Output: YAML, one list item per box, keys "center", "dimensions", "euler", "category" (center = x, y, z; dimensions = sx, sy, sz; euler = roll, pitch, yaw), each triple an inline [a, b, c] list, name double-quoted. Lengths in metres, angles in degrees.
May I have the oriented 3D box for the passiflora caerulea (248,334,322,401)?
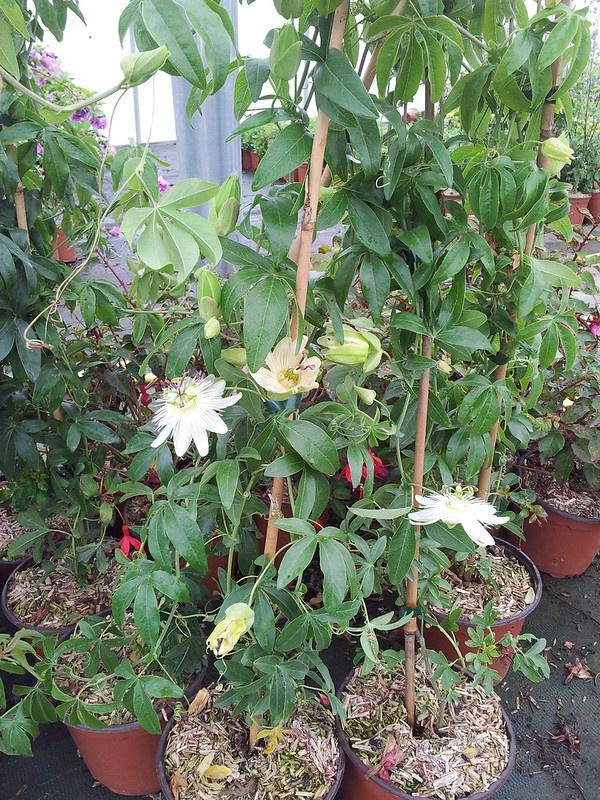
- center: [-0.015, -0.041, 0.846]
  dimensions: [0.082, 0.087, 0.047]
  euler: [17, -18, 0]
  category: "passiflora caerulea"

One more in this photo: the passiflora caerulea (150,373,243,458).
- center: [-0.139, 0.021, 0.824]
  dimensions: [0.105, 0.103, 0.155]
  euler: [0, 8, -14]
  category: "passiflora caerulea"

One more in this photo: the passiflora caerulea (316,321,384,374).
- center: [0.075, -0.077, 0.895]
  dimensions: [0.078, 0.074, 0.039]
  euler: [10, -11, 7]
  category: "passiflora caerulea"
